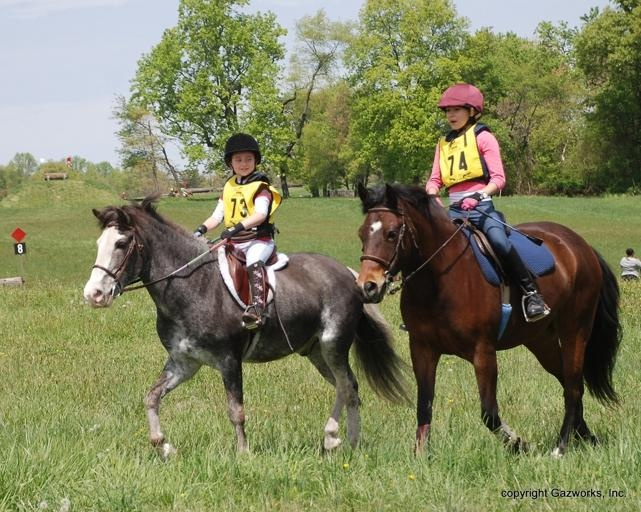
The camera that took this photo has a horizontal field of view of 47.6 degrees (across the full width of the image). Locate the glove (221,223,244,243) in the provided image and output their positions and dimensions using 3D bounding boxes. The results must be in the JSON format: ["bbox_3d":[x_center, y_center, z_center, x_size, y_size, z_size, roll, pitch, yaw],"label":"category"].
[{"bbox_3d":[-1.076,-0.280,8.881,0.277,0.104,0.173,-34,26,2],"label":"glove"}]

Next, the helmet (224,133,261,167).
[{"bbox_3d":[-1.033,-1.395,9.441,0.363,0.409,0.427,-2,-7,-1],"label":"helmet"}]

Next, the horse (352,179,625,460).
[{"bbox_3d":[2.296,0.844,9.256,4.635,3.411,1.371,2,-6,-34],"label":"horse"}]

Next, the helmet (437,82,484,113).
[{"bbox_3d":[1.736,-1.886,8.895,0.465,0.285,0.346,3,-3,-31],"label":"helmet"}]
